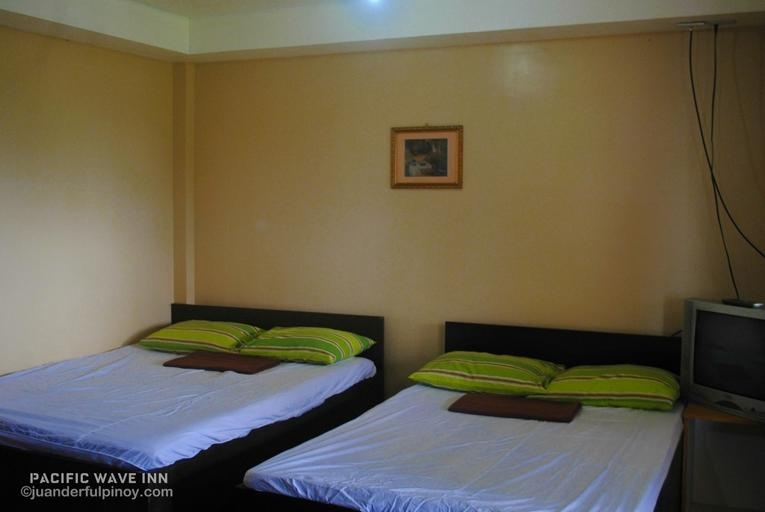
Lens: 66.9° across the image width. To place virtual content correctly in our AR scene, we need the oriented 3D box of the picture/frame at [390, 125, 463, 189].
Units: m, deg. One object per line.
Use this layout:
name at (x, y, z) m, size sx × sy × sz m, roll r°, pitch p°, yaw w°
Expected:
picture/frame at (0.406, -0.858, 4.948) m, size 0.584 × 0.473 × 0.048 m, roll 1°, pitch 3°, yaw 17°

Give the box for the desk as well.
desk at (2.232, 1.362, 3.923) m, size 0.413 × 0.655 × 0.316 m, roll 1°, pitch 4°, yaw 19°
